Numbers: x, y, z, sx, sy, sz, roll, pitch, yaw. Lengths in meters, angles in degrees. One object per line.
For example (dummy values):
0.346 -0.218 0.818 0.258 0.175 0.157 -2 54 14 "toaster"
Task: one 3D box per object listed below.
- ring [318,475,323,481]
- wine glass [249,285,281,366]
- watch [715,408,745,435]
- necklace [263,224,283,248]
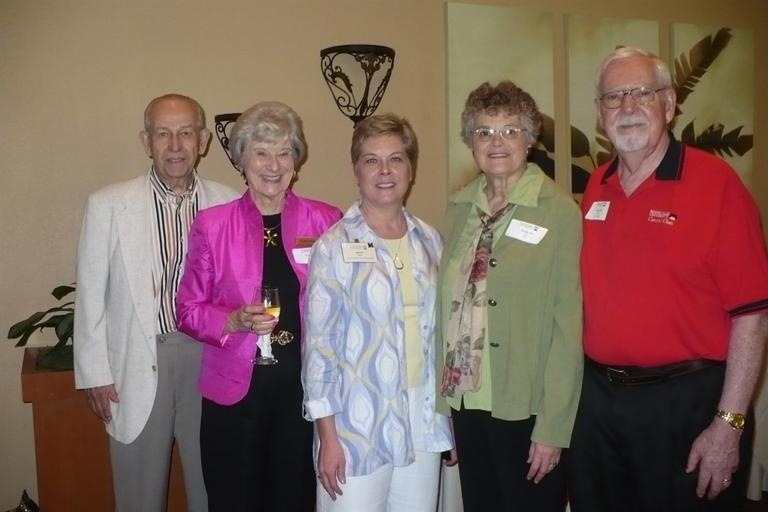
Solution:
-0.325 1.128 3.196 0.024 0.033 0.029 -3 -1 11 "ring"
-0.627 0.376 3.336 0.149 0.440 0.196 -3 7 -9 "wine glass"
1.697 0.801 3.053 0.101 0.061 0.107 23 -1 -4 "watch"
-0.636 -0.114 3.544 0.106 0.113 0.028 0 -13 -11 "necklace"
